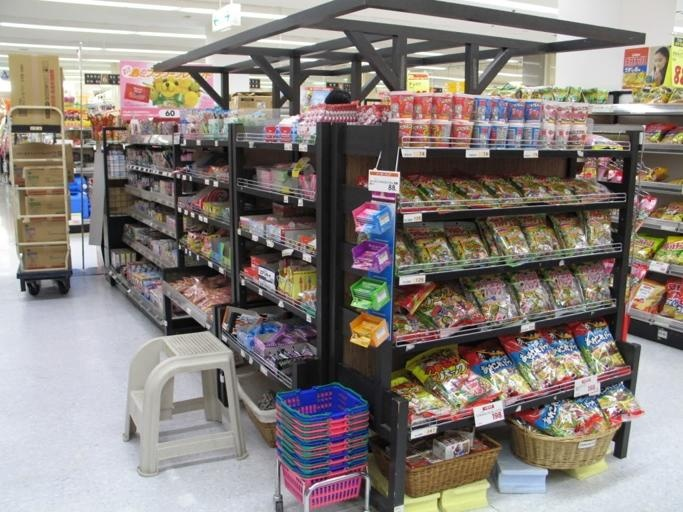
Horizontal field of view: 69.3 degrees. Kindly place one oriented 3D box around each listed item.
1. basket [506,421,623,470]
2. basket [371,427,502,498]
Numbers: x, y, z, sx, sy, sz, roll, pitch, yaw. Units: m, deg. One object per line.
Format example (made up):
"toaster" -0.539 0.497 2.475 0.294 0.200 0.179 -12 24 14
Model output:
"basket" 1.356 1.213 3.093 0.549 0.143 0.412 -2 3 -15
"basket" 0.587 1.236 2.958 0.577 0.141 0.362 -1 1 -28
